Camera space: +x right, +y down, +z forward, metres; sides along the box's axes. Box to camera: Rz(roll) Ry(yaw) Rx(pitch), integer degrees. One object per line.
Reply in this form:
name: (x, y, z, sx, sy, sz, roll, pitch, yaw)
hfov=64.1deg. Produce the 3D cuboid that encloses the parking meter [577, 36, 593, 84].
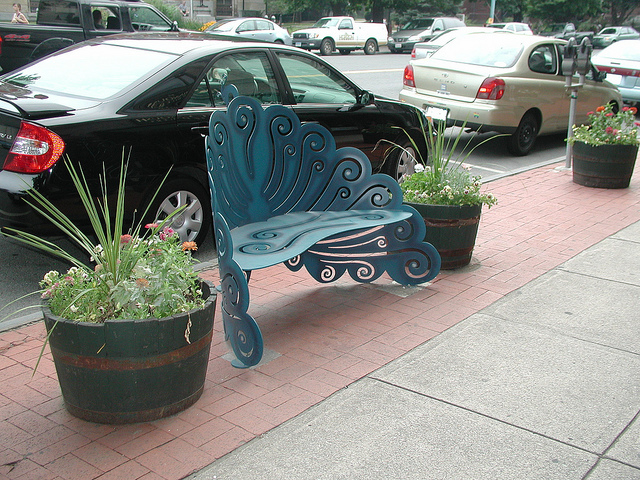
parking meter: (4.476, -3.039, 8.719, 0.228, 0.759, 0.254, 12, 27, 37)

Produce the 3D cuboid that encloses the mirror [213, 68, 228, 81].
mirror: (-1.052, -1.727, 5.354, 0.050, 0.121, 0.198, 13, 27, 30)

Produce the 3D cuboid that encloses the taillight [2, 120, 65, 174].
taillight: (-2.322, -0.744, 4.148, 0.426, 0.395, 0.185, 0, 26, 5)

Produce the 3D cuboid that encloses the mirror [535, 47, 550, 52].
mirror: (4.453, -3.781, 10.208, 0.223, 0.039, 0.223, 5, 12, 29)

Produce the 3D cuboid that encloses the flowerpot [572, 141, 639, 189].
flowerpot: (4.482, -1.189, 8.007, 0.843, 0.506, 0.906, -9, 16, -34)

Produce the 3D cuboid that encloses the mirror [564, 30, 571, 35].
mirror: (24.709, -20.654, 50.966, 0.479, 0.304, 3.296, 9, 23, 24)

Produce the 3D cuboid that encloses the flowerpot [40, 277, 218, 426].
flowerpot: (-1.038, 0.614, 2.930, 0.934, 0.447, 0.811, -1, 11, -21)

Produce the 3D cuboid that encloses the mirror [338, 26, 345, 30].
mirror: (1.288, -12.718, 30.791, 0.588, 0.144, 0.153, -20, 29, -39)

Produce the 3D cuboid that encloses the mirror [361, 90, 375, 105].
mirror: (0.609, -1.809, 6.535, 0.169, 0.178, 0.244, 0, 23, 4)

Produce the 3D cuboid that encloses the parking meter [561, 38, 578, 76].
parking meter: (4.273, -3.084, 8.703, 0.239, 0.622, 0.608, 9, 26, 22)

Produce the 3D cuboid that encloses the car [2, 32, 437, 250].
car: (-0.599, -1.263, 5.900, 5.427, 1.548, 2.323, -11, 18, -35)

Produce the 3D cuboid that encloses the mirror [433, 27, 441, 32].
mirror: (7.524, -13.413, 32.752, 0.642, 0.224, 0.280, -15, 26, -30)

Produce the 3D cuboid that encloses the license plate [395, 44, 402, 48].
license plate: (5.129, -12.749, 33.671, 0.358, 0.160, 0.040, 5, 32, 16)

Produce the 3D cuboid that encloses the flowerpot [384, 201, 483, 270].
flowerpot: (1.101, -0.081, 5.085, 0.882, 0.434, 0.743, 3, 7, 23)

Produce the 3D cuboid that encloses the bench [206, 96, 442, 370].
bench: (-0.099, -0.207, 4.177, 1.452, 1.682, 2.246, 26, 28, 36)
